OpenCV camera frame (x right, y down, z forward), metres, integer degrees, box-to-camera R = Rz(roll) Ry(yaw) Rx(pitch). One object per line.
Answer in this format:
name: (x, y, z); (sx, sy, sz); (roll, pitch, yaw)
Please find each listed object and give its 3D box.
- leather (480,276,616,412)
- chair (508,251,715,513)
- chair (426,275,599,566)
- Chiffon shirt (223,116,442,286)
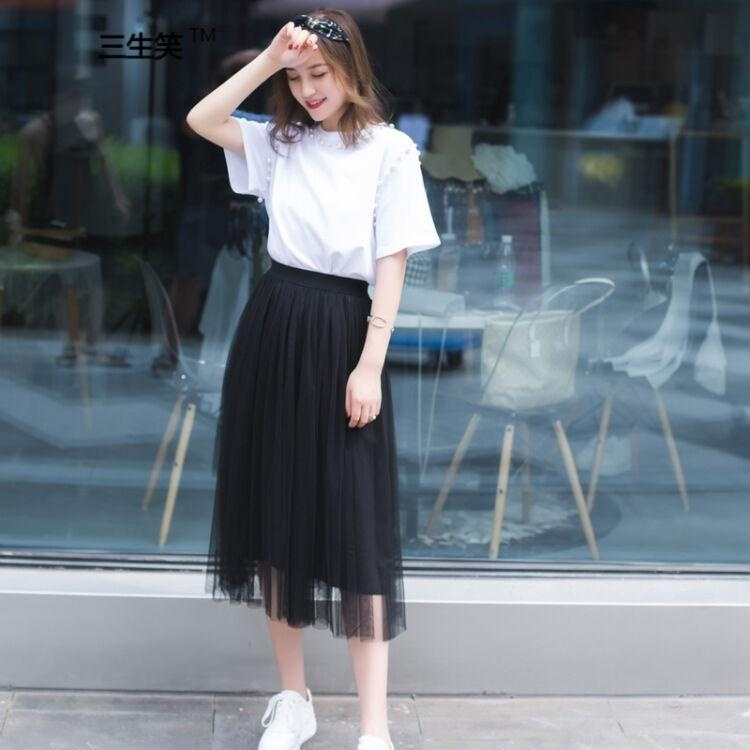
leather: (0.494, -0.100, 3.054); (0.361, 0.425, 0.297); (1, 9, 11)
chair: (0.697, -0.030, 3.464); (0.576, 0.964, 0.728); (0, 1, -3)
chair: (0.445, 0.134, 3.233); (0.461, 0.881, 0.499); (5, 14, 21)
Chiffon shirt: (-0.085, -0.424, 2.514); (0.392, 0.338, 0.165); (7, 5, 25)
